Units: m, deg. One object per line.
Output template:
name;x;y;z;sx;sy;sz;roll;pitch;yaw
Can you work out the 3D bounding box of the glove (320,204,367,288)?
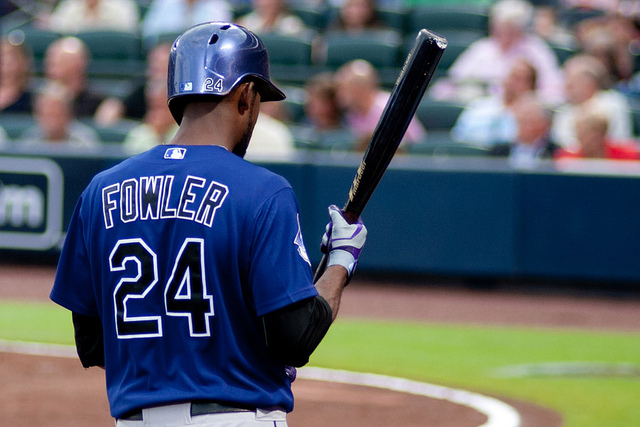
glove;0.140;0.205;7.427;0.246;0.533;0.354;-1;-1;0
